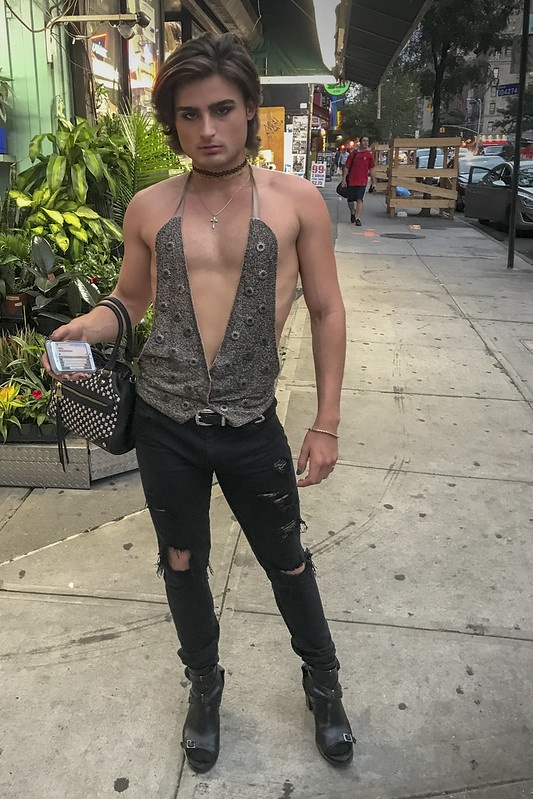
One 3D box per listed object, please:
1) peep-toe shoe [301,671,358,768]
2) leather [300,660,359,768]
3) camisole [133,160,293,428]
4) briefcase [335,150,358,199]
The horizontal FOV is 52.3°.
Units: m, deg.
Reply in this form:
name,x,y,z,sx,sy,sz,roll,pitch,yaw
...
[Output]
name,x,y,z,sx,sy,sz,roll,pitch,yaw
peep-toe shoe,0.159,0.896,1.549,0.095,0.111,0.278,-5,13,-8
leather,0.174,0.896,1.529,0.101,0.144,0.274,-4,2,-7
camisole,-0.124,-0.201,1.153,0.299,0.502,0.211,-5,20,-13
briefcase,2.050,-6.073,14.531,0.270,0.941,0.554,19,19,15
